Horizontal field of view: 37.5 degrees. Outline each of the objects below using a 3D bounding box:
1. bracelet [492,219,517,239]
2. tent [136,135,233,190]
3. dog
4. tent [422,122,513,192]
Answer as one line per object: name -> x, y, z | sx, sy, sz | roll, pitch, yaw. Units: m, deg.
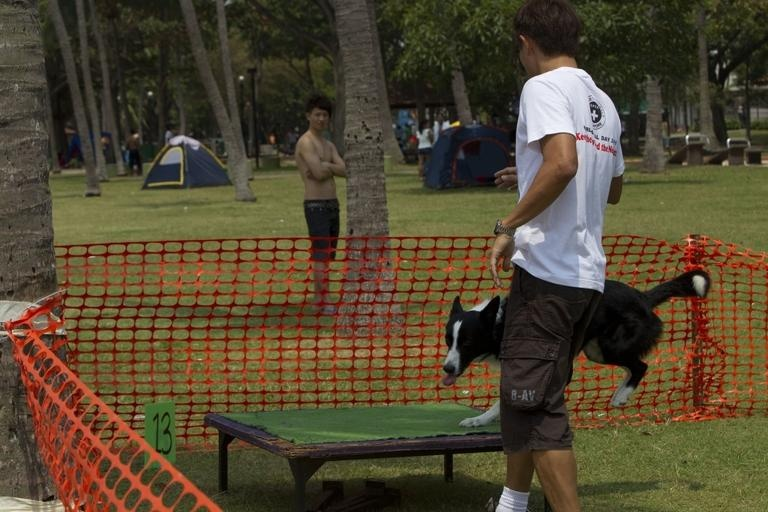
bracelet -> 0.905, -0.195, 8.530 | 0.155, 0.158, 0.106 | 1, 1, 5
tent -> -6.167, -2.917, 34.917 | 2.245, 1.374, 2.340 | 2, 10, 24
dog -> 1.624, 0.741, 9.191 | 2.336, 1.078, 0.515 | -11, 6, 16
tent -> 2.131, -2.720, 29.721 | 2.378, 1.444, 2.125 | -6, 5, -31
